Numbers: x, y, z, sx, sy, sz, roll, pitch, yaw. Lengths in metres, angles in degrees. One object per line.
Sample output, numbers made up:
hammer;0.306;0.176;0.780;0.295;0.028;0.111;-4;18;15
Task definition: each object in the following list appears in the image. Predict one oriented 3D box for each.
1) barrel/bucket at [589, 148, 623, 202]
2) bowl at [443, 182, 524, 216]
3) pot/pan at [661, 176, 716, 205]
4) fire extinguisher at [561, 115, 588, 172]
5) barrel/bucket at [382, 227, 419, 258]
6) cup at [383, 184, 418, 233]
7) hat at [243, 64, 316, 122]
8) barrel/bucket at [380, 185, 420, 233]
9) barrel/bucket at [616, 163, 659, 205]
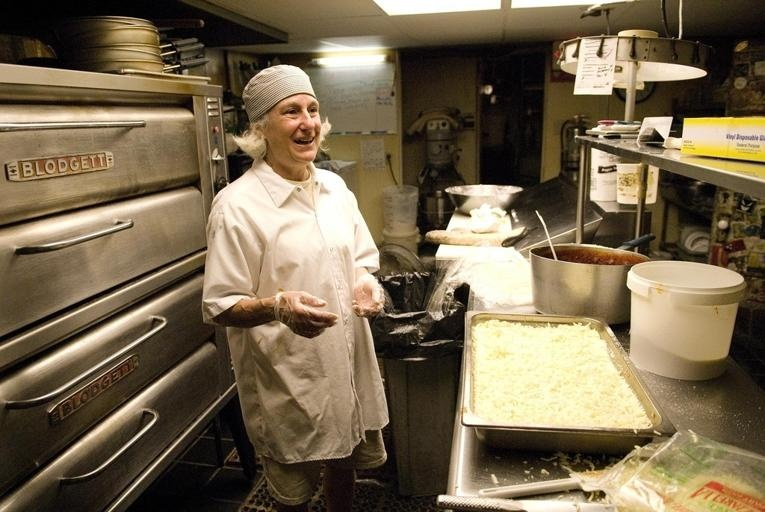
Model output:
barrel/bucket;1.182;-0.423;2.779;0.092;0.279;0.233;-9;18;-11
bowl;0.847;-0.466;4.387;0.582;0.202;0.646;0;16;14
pot/pan;2.971;-0.638;5.157;0.585;0.255;0.763;0;5;10
fire extinguisher;2.066;-1.188;5.618;0.187;0.622;0.281;-20;24;-37
barrel/bucket;0.228;-0.183;5.976;0.446;0.419;0.415;-1;14;0
cup;0.063;-0.559;6.134;0.569;0.554;0.521;-1;13;0
hat;-0.464;-0.727;2.403;0.305;0.174;0.283;-23;16;5
barrel/bucket;0.201;-0.527;6.035;0.566;0.538;0.529;-1;14;0
barrel/bucket;1.279;-0.359;2.641;0.188;0.226;0.209;3;19;21
